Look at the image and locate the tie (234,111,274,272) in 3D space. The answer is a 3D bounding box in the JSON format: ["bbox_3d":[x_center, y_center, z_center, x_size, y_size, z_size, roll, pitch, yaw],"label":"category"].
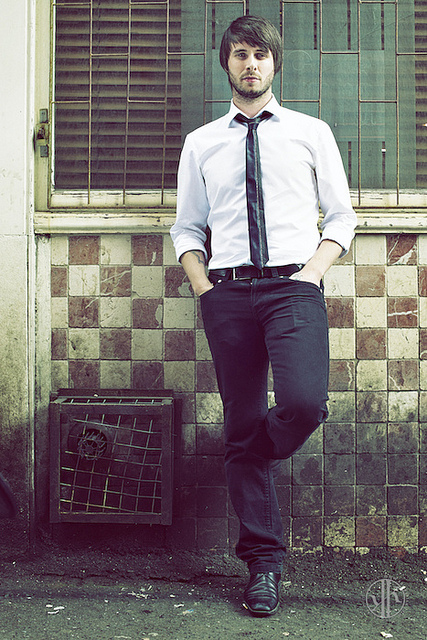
[{"bbox_3d":[0.165,-0.488,4.181,0.197,0.610,0.032,-3,8,5],"label":"tie"}]

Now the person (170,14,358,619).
[{"bbox_3d":[0.205,-0.018,4.265,0.682,2.438,0.390,-6,-8,41],"label":"person"}]

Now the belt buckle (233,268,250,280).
[{"bbox_3d":[0.112,-0.185,4.155,0.068,0.048,0.008,-3,-7,26],"label":"belt buckle"}]

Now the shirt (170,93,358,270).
[{"bbox_3d":[0.208,-0.572,4.346,0.805,0.706,0.389,-1,9,16],"label":"shirt"}]
